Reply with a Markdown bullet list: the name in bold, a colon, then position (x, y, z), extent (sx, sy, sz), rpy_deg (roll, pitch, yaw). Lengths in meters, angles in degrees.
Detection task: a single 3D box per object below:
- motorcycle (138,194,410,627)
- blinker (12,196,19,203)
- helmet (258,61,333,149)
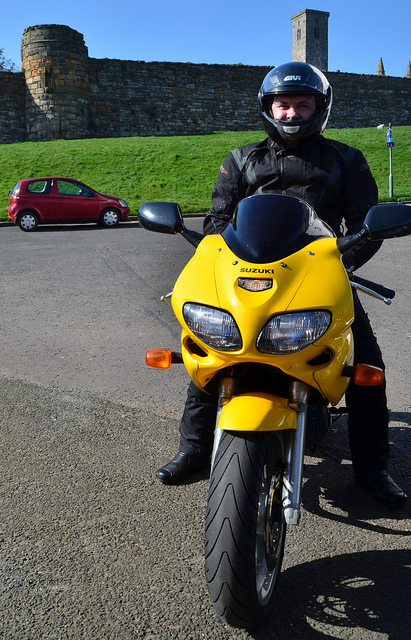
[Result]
- **motorcycle**: position (0.146, 0.225, 1.598), extent (0.677, 1.281, 0.755), rpy_deg (3, 6, 42)
- **blinker**: position (-5.975, -3.800, 15.341), extent (0.334, 0.224, 0.091), rpy_deg (4, 6, 41)
- **helmet**: position (0.402, -0.983, 2.201), extent (0.316, 0.364, 0.389), rpy_deg (-1, 25, 9)
